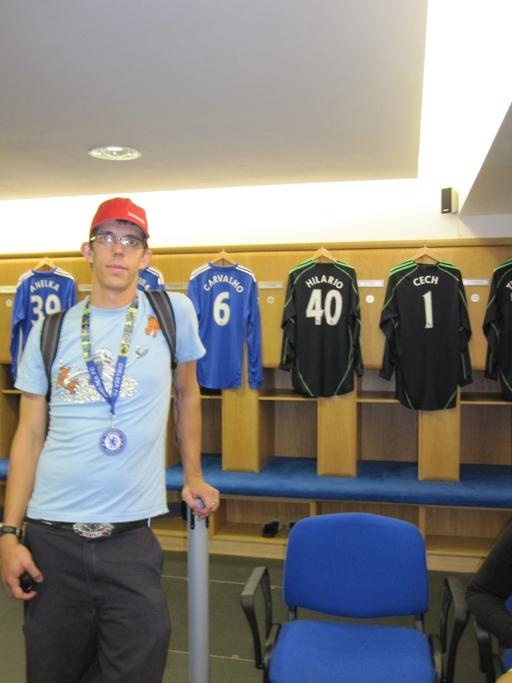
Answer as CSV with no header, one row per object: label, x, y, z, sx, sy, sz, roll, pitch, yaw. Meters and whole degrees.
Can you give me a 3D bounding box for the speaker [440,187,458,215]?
speaker,1.367,-0.991,4.221,0.116,0.175,0.156,0,7,19
